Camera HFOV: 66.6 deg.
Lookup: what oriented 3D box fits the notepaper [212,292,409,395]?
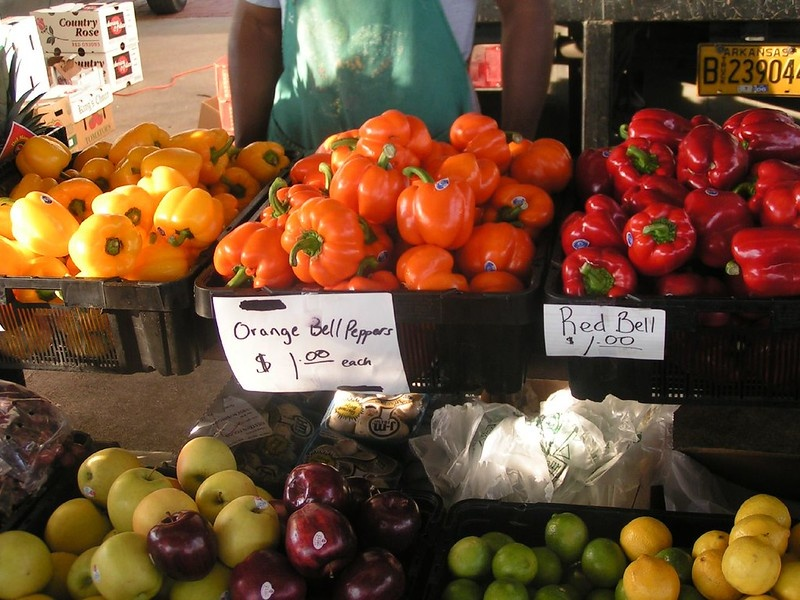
[{"bbox_3d":[-0.203,0.097,1.359,0.346,0.154,0.242,-2,6,4],"label":"notepaper"}]

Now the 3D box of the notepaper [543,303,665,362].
[{"bbox_3d":[0.411,0.063,1.235,0.185,0.070,0.130,1,14,9],"label":"notepaper"}]
